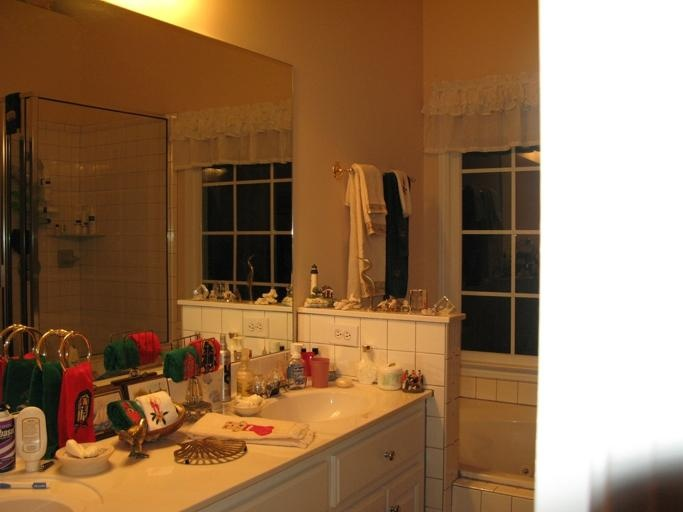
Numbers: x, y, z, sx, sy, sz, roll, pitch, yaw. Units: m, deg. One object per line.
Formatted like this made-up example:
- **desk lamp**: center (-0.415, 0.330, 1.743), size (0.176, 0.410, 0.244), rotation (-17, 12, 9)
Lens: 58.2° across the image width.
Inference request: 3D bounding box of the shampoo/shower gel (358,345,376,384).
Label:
- **shampoo/shower gel**: center (0.109, 0.448, 2.547), size (0.079, 0.148, 0.096), rotation (3, 4, 2)

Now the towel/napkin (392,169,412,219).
- **towel/napkin**: center (0.340, -0.347, 3.336), size (0.063, 0.223, 0.205), rotation (0, 6, 15)

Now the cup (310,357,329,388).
- **cup**: center (-0.097, 0.468, 2.465), size (0.089, 0.121, 0.095), rotation (0, -1, 0)

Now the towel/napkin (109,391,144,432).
- **towel/napkin**: center (-0.590, 0.443, 1.701), size (0.103, 0.074, 0.082), rotation (6, 5, 32)

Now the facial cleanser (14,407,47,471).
- **facial cleanser**: center (-0.780, 0.459, 1.536), size (0.069, 0.158, 0.036), rotation (1, 4, -27)

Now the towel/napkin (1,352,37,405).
- **towel/napkin**: center (-0.865, 0.323, 1.651), size (0.106, 0.122, 0.062), rotation (7, 6, 39)

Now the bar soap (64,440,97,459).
- **bar soap**: center (-0.660, 0.486, 1.557), size (0.104, 0.032, 0.059), rotation (7, 5, 40)

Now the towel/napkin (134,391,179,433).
- **towel/napkin**: center (-0.525, 0.445, 1.762), size (0.083, 0.112, 0.111), rotation (-11, -8, 31)

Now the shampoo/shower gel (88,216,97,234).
- **shampoo/shower gel**: center (-0.743, -0.091, 1.826), size (0.007, 0.057, 0.030), rotation (5, 4, 28)
